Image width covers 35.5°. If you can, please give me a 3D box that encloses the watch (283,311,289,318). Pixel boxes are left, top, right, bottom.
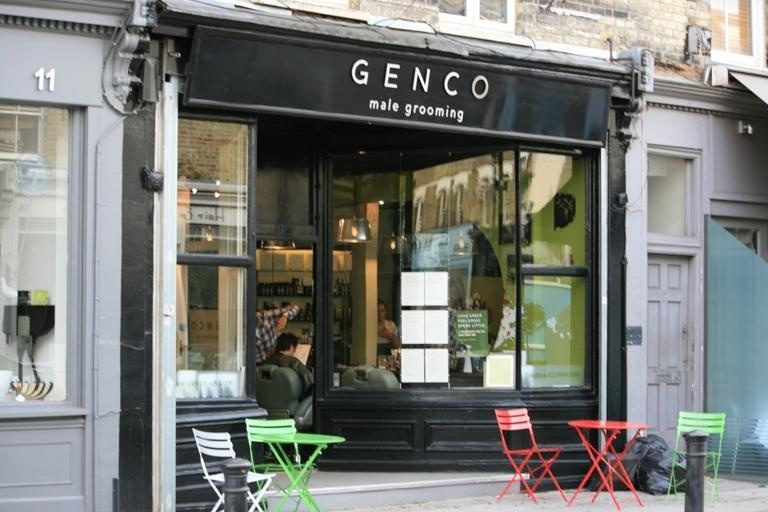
[{"bbox_3d":[-1.330,0.792,16.221,0.069,0.075,0.020,3,-9,-6],"label":"watch"}]

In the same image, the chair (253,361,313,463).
[{"bbox_3d":[-1.253,1.991,15.941,0.882,1.271,0.981,-1,3,21],"label":"chair"}]

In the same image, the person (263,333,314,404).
[{"bbox_3d":[-1.294,1.445,16.026,0.765,0.822,0.399,10,11,36],"label":"person"}]

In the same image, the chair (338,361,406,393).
[{"bbox_3d":[-0.178,1.534,15.249,0.743,0.297,0.142,-1,-4,8],"label":"chair"}]

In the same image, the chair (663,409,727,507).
[{"bbox_3d":[3.927,2.479,15.147,0.733,1.098,0.836,3,-2,29],"label":"chair"}]

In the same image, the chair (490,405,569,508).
[{"bbox_3d":[1.937,2.469,14.908,0.684,1.010,0.671,4,9,-8],"label":"chair"}]

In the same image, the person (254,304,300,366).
[{"bbox_3d":[-1.438,1.085,16.045,0.269,1.004,0.767,-1,-3,38],"label":"person"}]
